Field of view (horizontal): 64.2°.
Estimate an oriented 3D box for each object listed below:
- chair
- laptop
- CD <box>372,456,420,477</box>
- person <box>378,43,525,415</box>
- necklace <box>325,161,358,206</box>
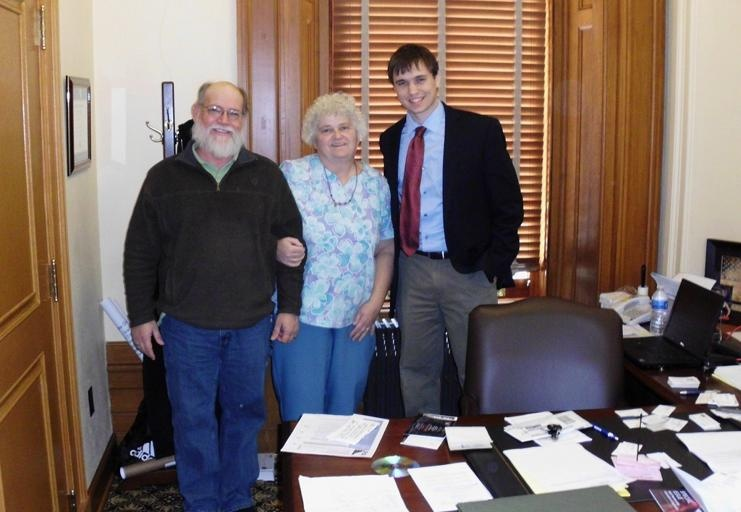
[{"bbox_3d":[0.755,0.493,2.830,0.452,0.706,0.568,0,-14,4],"label":"chair"},{"bbox_3d":[1.369,0.308,2.746,0.371,0.312,0.444,-1,7,12],"label":"laptop"},{"bbox_3d":[0.077,0.703,1.972,0.147,0.020,0.097,4,14,19],"label":"CD"},{"bbox_3d":[0.372,0.060,3.176,0.760,2.280,0.724,-1,13,16],"label":"person"},{"bbox_3d":[-0.150,-0.332,2.815,0.126,0.209,0.039,-3,-8,-14],"label":"necklace"}]
